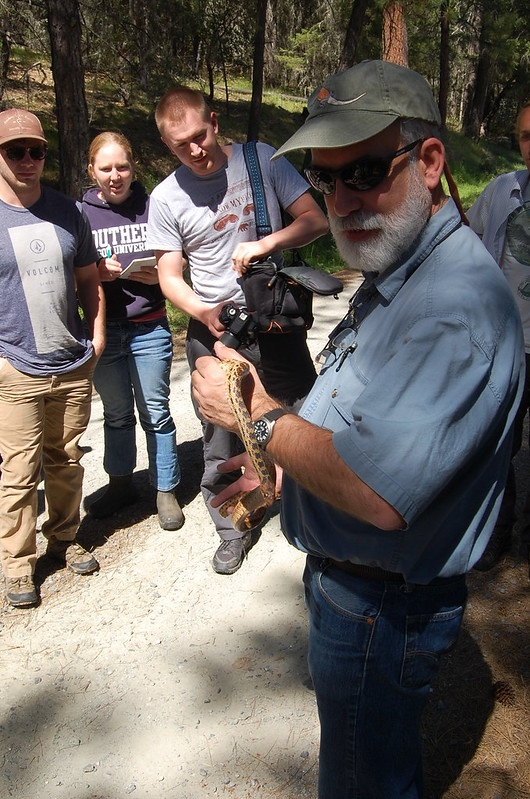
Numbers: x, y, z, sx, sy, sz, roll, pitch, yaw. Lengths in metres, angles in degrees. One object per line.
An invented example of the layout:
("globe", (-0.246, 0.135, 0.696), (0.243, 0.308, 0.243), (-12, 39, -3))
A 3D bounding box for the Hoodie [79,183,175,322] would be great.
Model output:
("Hoodie", (-0.882, -0.903, 4.071), (0.632, 0.783, 0.237), (-6, -11, -21))

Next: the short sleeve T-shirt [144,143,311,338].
("short sleeve T-shirt", (-0.231, -0.946, 3.497), (0.951, 0.752, 0.350), (-26, 46, -24))

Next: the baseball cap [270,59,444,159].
("baseball cap", (0.188, -0.594, 1.340), (0.288, 0.141, 0.195), (-20, 20, -22))

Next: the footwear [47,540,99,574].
("footwear", (-1.142, 0.930, 3.794), (0.219, 0.131, 0.081), (17, 36, 21))

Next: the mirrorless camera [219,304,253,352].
("mirrorless camera", (-0.118, -0.239, 2.472), (0.111, 0.184, 0.170), (15, 39, -13))

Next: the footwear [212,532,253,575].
("footwear", (-0.189, 0.871, 3.735), (0.113, 0.125, 0.285), (9, 22, 17))

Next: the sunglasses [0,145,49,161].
("sunglasses", (-1.142, -1.200, 3.158), (0.104, 0.074, 0.255), (13, 25, 20))

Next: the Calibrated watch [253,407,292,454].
("Calibrated watch", (-0.004, 0.050, 1.469), (0.101, 0.102, 0.063), (-34, 58, -31))
